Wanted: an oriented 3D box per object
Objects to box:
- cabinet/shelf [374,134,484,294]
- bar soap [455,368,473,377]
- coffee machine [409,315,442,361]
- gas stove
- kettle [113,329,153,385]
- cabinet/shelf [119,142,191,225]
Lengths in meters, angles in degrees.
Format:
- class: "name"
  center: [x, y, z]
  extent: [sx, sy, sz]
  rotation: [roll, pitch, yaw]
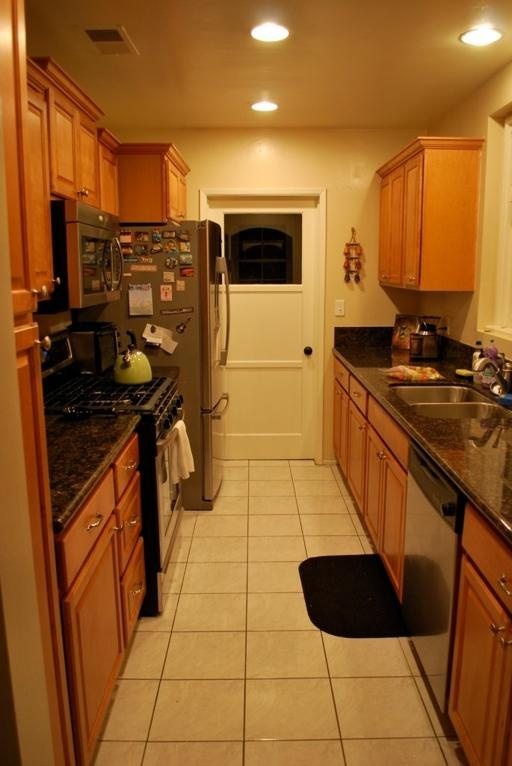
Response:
- class: "cabinet/shelf"
  center: [1.045, -1.010, 3.183]
  extent: [0.329, 0.886, 0.993]
  rotation: [1, 19, 4]
- class: "bar soap"
  center: [1.134, -0.048, 2.924]
  extent: [0.064, 0.036, 0.103]
  rotation: [0, 8, 5]
- class: "coffee machine"
  center: [1.150, -0.303, 3.617]
  extent: [0.197, 0.286, 0.301]
  rotation: [4, 9, 32]
- class: "gas stove"
  center: [-0.654, 0.150, 2.535]
  extent: [0.570, 0.275, 0.827]
  rotation: [-4, 11, -2]
- class: "kettle"
  center: [-0.616, -0.107, 2.718]
  extent: [0.161, 0.294, 0.272]
  rotation: [2, 7, 4]
- class: "cabinet/shelf"
  center: [-0.649, -1.200, 3.336]
  extent: [0.332, 0.468, 0.602]
  rotation: [-1, 7, 0]
